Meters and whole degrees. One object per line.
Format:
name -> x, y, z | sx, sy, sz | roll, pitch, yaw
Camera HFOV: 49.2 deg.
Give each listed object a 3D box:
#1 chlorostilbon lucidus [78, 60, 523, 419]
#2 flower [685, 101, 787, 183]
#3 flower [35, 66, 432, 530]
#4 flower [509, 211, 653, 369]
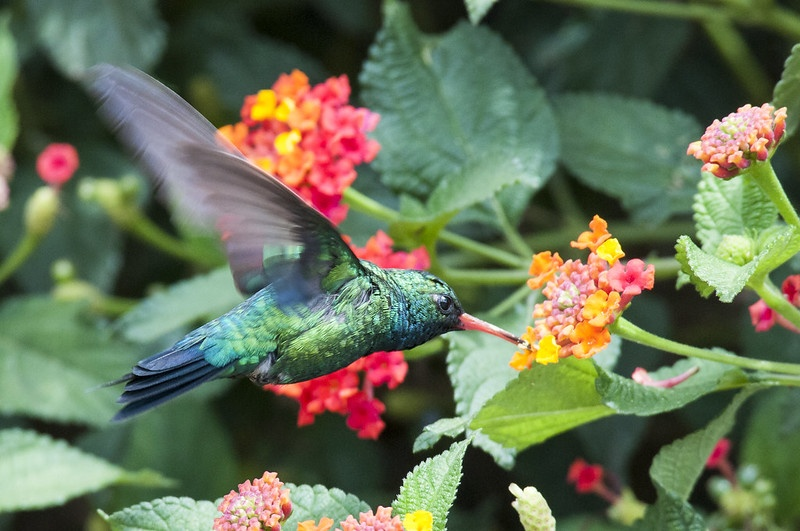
chlorostilbon lucidus -> -0.159, -0.001, 1.930 | 1.034, 0.665, 1.030 | 4, 8, -20
flower -> 0.659, -0.252, 1.697 | 0.157, 0.074, 0.146 | -42, 13, -5
flower -> -0.311, -0.102, 1.834 | 0.716, 0.681, 0.352 | -16, 27, -11
flower -> 0.336, 0.053, 1.781 | 0.154, 0.283, 0.293 | 26, 9, -34
